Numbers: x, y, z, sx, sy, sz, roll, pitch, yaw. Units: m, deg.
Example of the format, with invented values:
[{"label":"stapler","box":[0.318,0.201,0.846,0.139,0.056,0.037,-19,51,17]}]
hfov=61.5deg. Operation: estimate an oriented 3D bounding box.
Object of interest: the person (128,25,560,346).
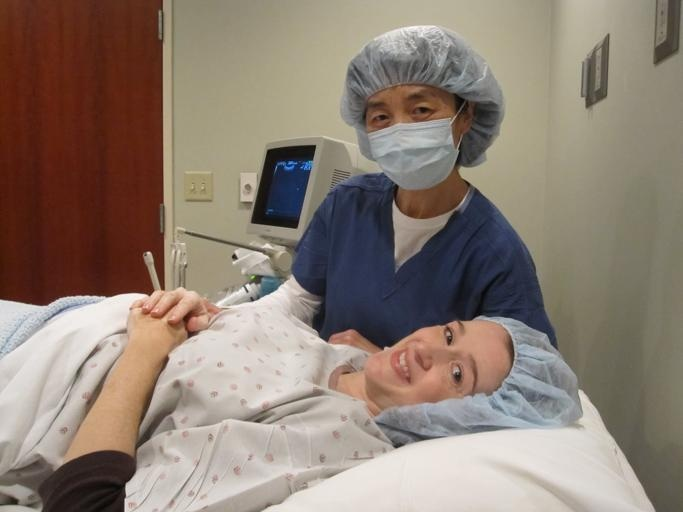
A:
[{"label":"person","box":[0.067,-0.358,2.502,0.671,1.364,1.145,-10,23,-44]}]

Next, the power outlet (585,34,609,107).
[{"label":"power outlet","box":[1.037,-0.750,2.333,0.030,0.180,0.141,3,8,13]}]
